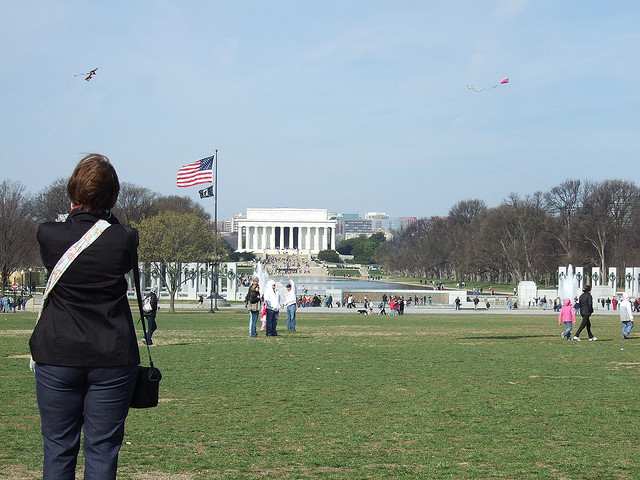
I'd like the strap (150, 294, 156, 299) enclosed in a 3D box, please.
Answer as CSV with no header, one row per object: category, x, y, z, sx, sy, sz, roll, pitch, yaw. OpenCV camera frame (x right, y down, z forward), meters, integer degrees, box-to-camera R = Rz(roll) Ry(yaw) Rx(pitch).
strap,-4.964,1.685,35.803,0.130,0.029,0.124,6,31,7

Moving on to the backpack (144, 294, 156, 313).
backpack,-5.118,1.940,35.830,0.526,0.467,0.370,3,2,-13

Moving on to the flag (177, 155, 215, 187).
flag,-6.564,-3.607,63.636,1.784,1.494,1.053,-1,5,-8
